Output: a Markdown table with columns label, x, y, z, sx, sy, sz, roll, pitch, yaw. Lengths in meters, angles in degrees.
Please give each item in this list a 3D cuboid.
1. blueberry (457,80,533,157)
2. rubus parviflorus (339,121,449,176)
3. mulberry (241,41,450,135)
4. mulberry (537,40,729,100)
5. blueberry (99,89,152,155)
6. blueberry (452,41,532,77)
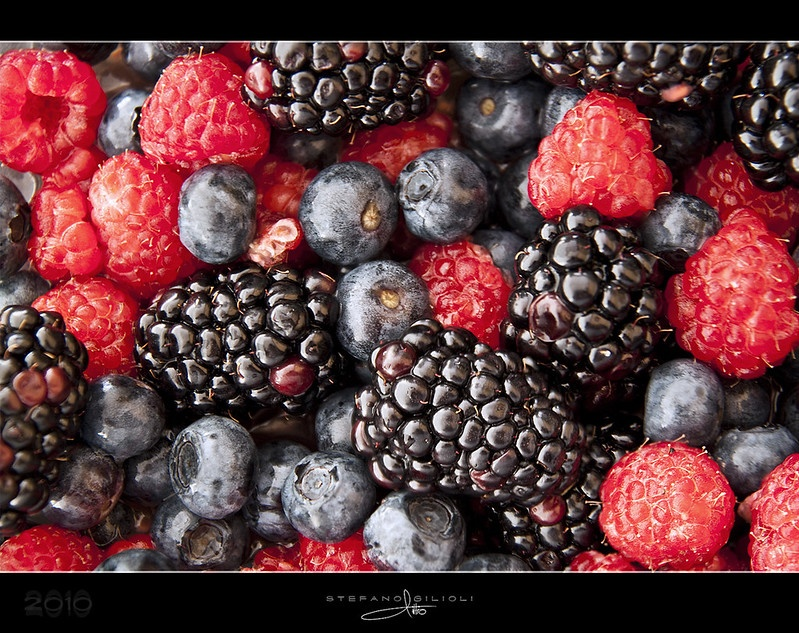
| label | x | y | z | sx | sy | sz | roll | pitch | yaw |
| --- | --- | --- | --- | --- | --- | --- | --- | --- | --- |
| blueberry | 0.239 | -0.472 | 1.979 | 0.194 | 0.155 | 0.131 | 5 | 64 | 3 |
| rubus parviflorus | -0.007 | -0.400 | 1.920 | 0.199 | 0.059 | 0.137 | -4 | 31 | 1 |
| mulberry | -0.120 | -0.472 | 1.708 | 0.317 | 0.143 | 0.211 | -1 | 100 | 1 |
| mulberry | 0.477 | -0.504 | 1.703 | 0.267 | 0.081 | 0.167 | 1 | 17 | -3 |
| blueberry | -0.628 | -0.446 | 1.943 | 0.139 | 0.085 | 0.140 | 0 | 86 | -1 |
| blueberry | 0.218 | -0.567 | 1.868 | 0.121 | 0.084 | 0.059 | 6 | 54 | 14 |
